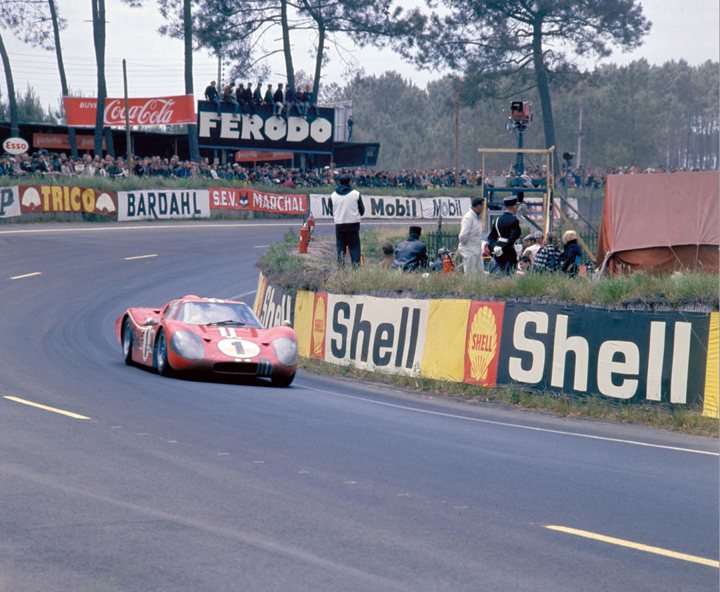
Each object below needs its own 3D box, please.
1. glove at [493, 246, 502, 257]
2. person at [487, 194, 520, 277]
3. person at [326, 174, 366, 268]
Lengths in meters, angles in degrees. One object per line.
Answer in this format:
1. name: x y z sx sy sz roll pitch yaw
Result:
1. glove: 2.480 -0.821 22.215 0.101 0.155 0.149 0 -9 -1
2. person: 2.643 -0.855 22.336 0.554 1.871 0.579 10 17 42
3. person: -0.244 -1.490 23.509 0.600 1.909 1.351 0 13 -1
